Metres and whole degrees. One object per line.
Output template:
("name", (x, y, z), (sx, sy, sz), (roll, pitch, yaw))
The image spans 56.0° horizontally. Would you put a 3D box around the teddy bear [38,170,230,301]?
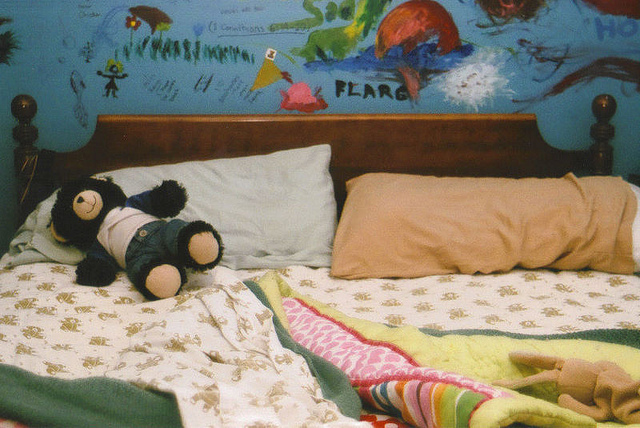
("teddy bear", (-0.895, 0.062, 2.791), (0.813, 0.290, 0.574), (26, 65, 20))
